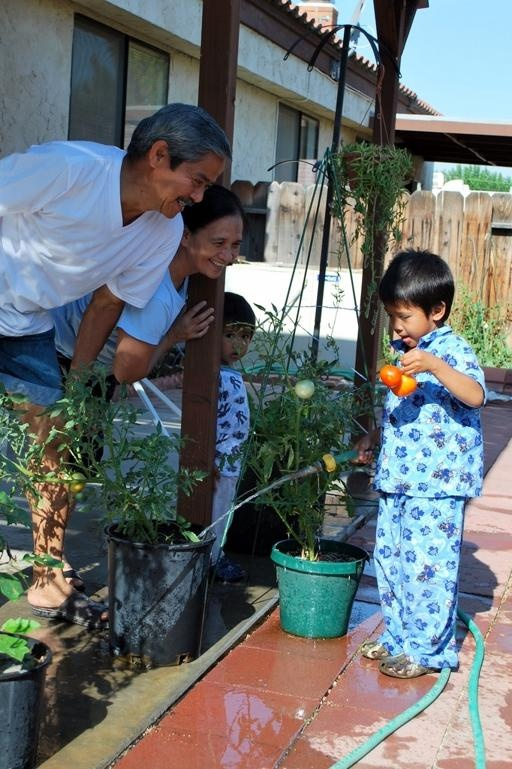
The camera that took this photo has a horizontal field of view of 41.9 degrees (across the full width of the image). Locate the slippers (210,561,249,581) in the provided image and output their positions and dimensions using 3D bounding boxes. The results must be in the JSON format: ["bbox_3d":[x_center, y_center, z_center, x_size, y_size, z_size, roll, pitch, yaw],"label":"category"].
[{"bbox_3d":[-0.103,0.660,2.458,0.099,0.047,0.121,11,-5,-12],"label":"slippers"}]

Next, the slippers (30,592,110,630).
[{"bbox_3d":[-0.526,0.628,1.951,0.238,0.081,0.097,8,10,11],"label":"slippers"}]

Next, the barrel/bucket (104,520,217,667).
[{"bbox_3d":[-0.204,0.517,1.769,0.319,0.315,0.330,4,9,-1],"label":"barrel/bucket"}]

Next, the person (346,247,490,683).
[{"bbox_3d":[0.436,0.192,1.766,0.314,1.005,0.484,6,2,16],"label":"person"}]

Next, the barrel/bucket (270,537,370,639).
[{"bbox_3d":[0.194,0.595,2.043,0.289,0.200,0.281,2,2,0],"label":"barrel/bucket"}]

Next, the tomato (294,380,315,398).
[{"bbox_3d":[0.152,0.022,1.955,0.057,0.058,0.054,11,-22,-23],"label":"tomato"}]

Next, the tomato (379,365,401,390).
[{"bbox_3d":[0.309,-0.013,1.585,0.059,0.052,0.055,7,-12,-5],"label":"tomato"}]
